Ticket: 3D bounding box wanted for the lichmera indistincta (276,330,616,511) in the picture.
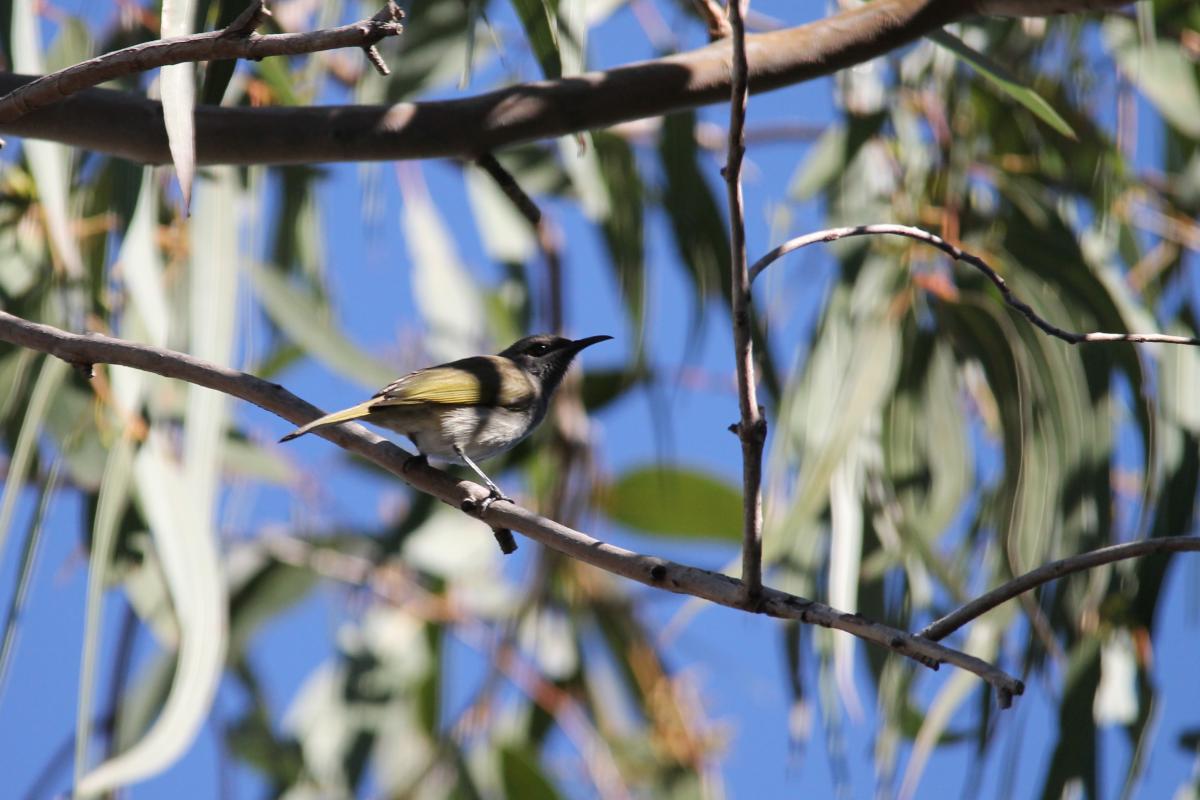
[{"bbox_3d":[-0.563,0.000,7.096,1.115,0.713,0.366,12,-15,-24],"label":"lichmera indistincta"}]
